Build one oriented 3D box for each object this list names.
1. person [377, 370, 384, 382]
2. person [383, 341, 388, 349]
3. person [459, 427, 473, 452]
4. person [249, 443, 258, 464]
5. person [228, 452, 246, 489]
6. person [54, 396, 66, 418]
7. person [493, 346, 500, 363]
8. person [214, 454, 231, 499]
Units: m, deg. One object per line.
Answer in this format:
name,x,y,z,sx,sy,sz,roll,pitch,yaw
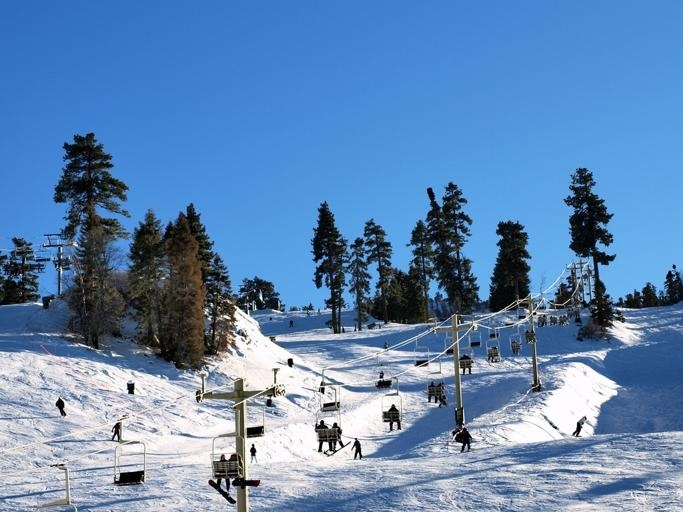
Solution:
person,3.519,10.956,97.307,0.257,0.872,0.730,2,-10,8
person,4.530,9.135,109.712,0.406,0.900,0.313,-2,10,10
person,8.315,12.191,71.881,0.770,1.650,2.056,2,5,8
person,-6.028,13.378,73.231,0.508,1.053,2.097,1,5,-5
person,-5.983,12.140,61.280,0.976,1.874,0.595,5,6,40
person,-20.764,11.084,79.405,0.812,1.313,1.636,0,5,-15
person,13.446,8.576,93.041,0.535,1.146,1.243,1,5,3
person,-6.931,12.826,63.205,0.791,3.076,0.437,-1,19,3
